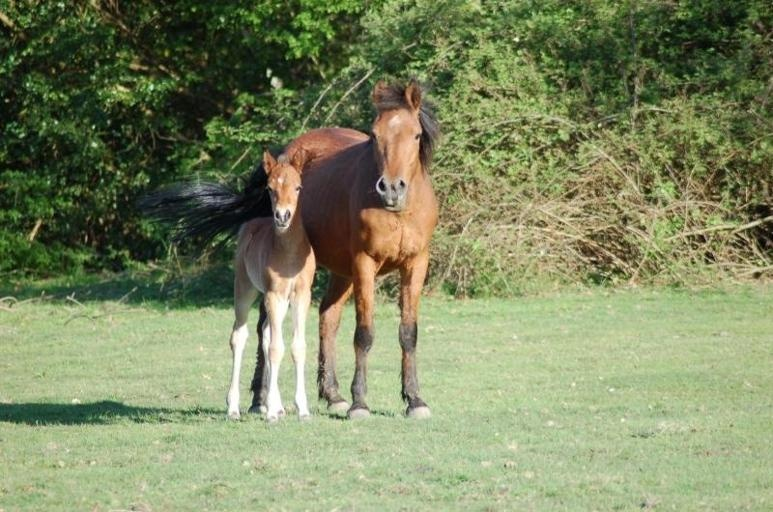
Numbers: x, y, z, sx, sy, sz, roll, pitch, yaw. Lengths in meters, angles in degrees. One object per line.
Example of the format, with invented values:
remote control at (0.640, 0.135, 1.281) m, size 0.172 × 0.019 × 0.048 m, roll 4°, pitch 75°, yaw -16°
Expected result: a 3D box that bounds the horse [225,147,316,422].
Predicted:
horse at (-2.045, 0.503, 20.085) m, size 1.019 × 4.608 × 1.466 m, roll 1°, pitch -2°, yaw -42°
